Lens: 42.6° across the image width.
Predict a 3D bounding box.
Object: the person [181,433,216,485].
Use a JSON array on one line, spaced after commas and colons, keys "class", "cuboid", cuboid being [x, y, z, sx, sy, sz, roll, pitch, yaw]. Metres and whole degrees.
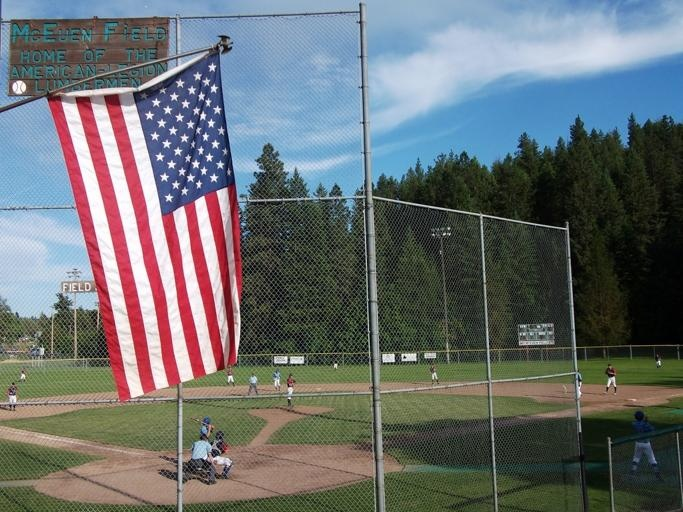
[{"class": "person", "cuboid": [-3.433, 4.978, 21.234, 0.590, 1.260, 0.935, -6, -6, 22]}]
